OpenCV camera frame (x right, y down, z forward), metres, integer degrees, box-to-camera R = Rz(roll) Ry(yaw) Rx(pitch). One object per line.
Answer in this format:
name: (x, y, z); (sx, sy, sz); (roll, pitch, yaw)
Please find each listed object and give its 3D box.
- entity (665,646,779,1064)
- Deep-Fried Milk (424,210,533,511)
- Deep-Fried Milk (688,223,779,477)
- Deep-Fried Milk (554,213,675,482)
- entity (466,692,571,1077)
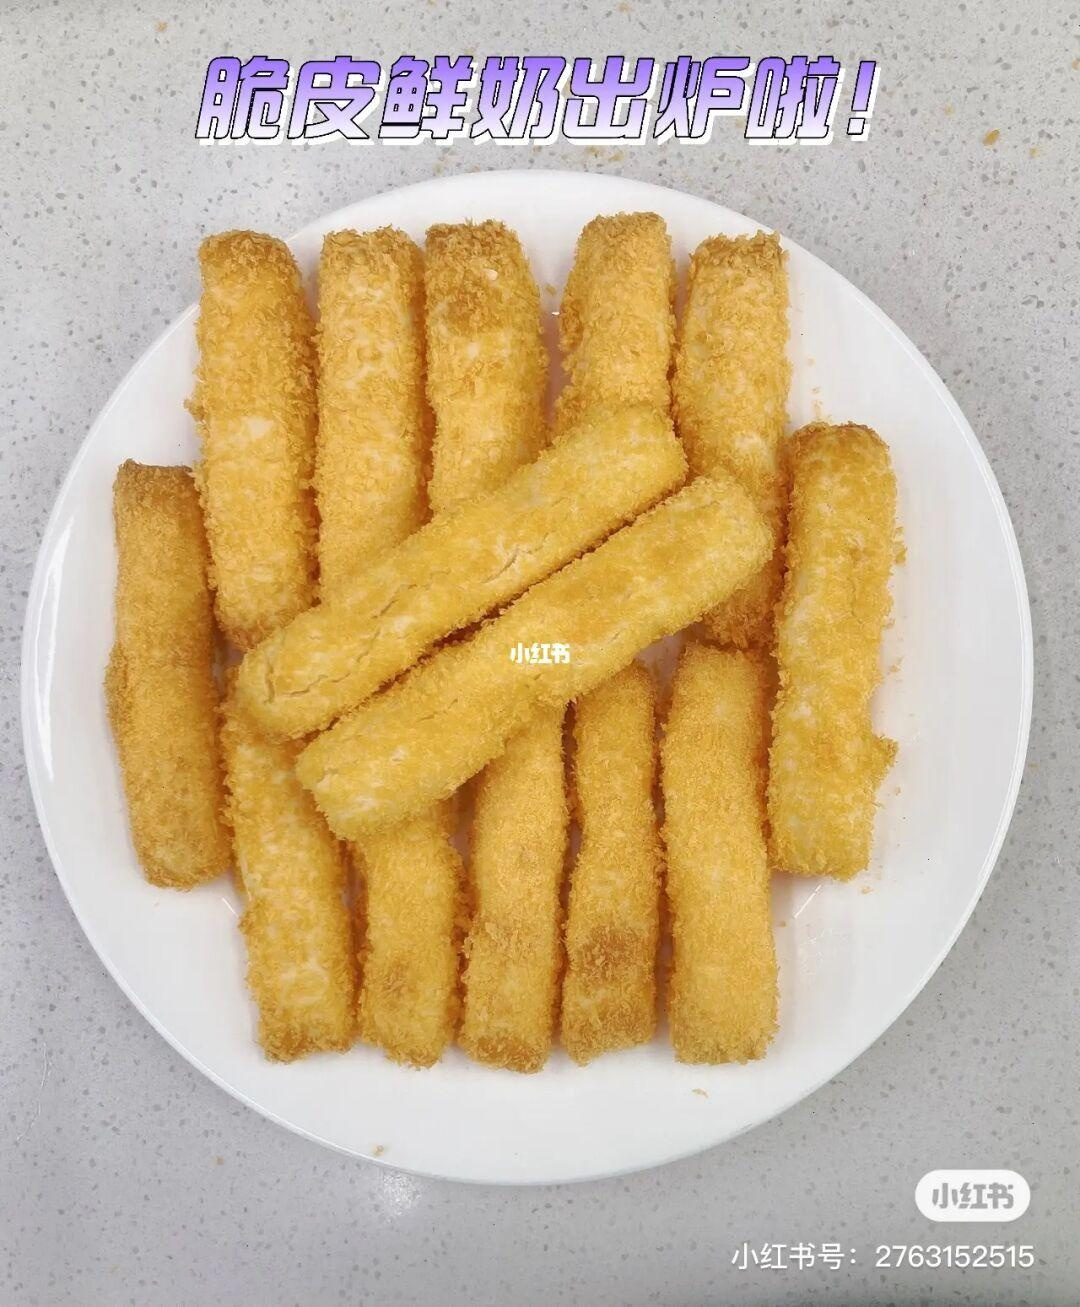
entity: (0.161, 0.186, 1.373); (0.122, 0.095, 0.356); (-1, 88, 1)
Deep-Fried Milk: (-0.055, -0.259, 1.320); (0.149, 0.076, 0.241); (1, 98, -4)
Deep-Fried Milk: (0.177, -0.278, 1.378); (0.115, 0.080, 0.210); (0, 95, 5)
Deep-Fried Milk: (0.071, -0.284, 1.350); (0.122, 0.080, 0.205); (-1, 92, 3)
entity: (-0.028, 0.215, 1.468); (0.109, 0.091, 0.411); (12, 40, -7)
